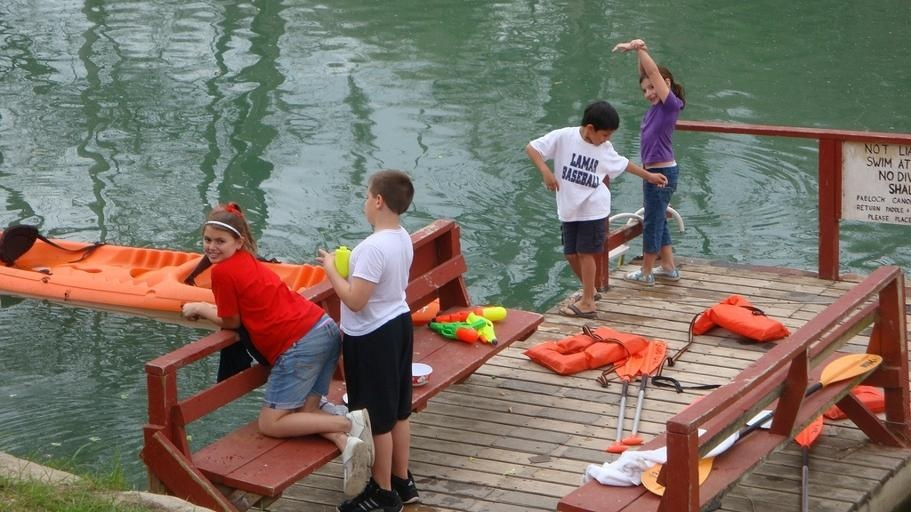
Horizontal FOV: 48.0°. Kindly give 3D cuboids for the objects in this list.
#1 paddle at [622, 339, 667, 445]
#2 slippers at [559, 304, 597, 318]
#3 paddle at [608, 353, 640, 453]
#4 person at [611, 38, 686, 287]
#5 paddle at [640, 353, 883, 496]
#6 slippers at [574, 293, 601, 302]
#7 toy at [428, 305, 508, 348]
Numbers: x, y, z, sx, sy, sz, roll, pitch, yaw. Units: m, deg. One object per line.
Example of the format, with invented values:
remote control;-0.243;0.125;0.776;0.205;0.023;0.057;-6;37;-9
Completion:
paddle;2.509;1.715;13.418;0.392;0.133;1.952;1;32;23
slippers;1.766;0.798;14.829;0.533;0.122;0.196;4;7;0
paddle;2.135;2.030;12.921;0.256;0.828;0.274;0;-1;18
person;2.815;-1.388;15.207;1.288;3.528;1.432;1;4;9
paddle;3.709;2.043;12.027;3.318;0.713;0.133;-29;28;-17
slippers;1.938;0.610;15.012;0.464;0.149;0.136;1;35;-1
toy;0.117;0.910;13.392;0.751;0.206;0.574;4;18;2
